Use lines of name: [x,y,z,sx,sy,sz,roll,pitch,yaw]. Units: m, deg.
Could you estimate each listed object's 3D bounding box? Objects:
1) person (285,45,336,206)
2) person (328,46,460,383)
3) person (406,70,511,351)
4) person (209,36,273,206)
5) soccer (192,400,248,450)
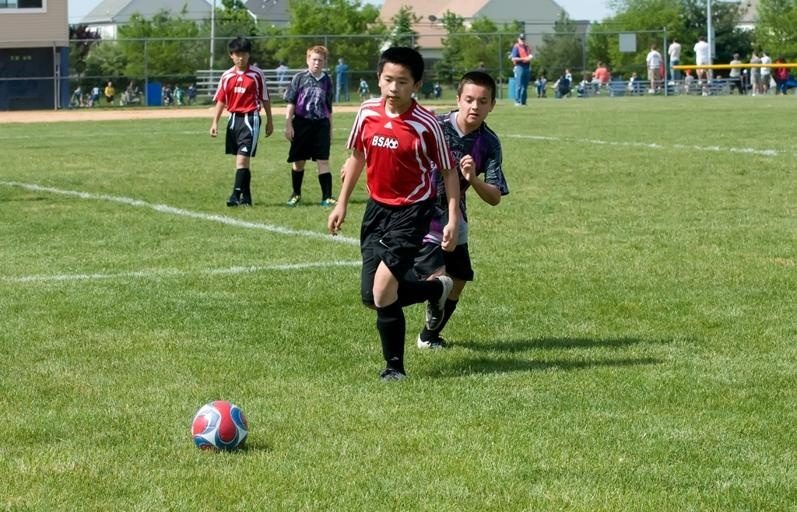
person: [-1.150,-1.659,15.367,0.720,1.936,1.109,0,-3,-6]
person: [-0.048,-0.365,10.066,1.067,2.713,0.498,3,6,8]
person: [0.426,-0.298,10.569,0.902,2.472,0.903,9,10,37]
person: [-2.037,-1.674,15.366,0.684,2.004,1.012,0,2,5]
soccer: [-1.382,1.286,9.175,0.434,0.359,0.172,1,6,-5]
